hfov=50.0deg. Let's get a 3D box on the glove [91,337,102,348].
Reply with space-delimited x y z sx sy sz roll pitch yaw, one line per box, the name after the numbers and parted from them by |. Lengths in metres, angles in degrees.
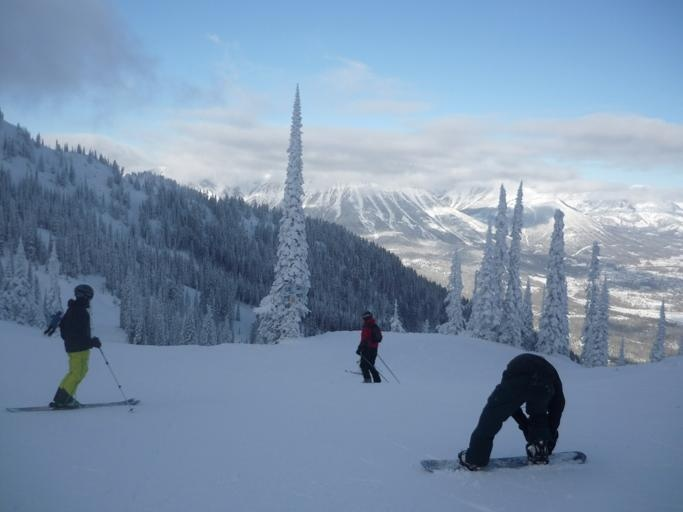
-10.443 3.730 31.311 0.343 0.439 0.452 5 -41 -14 | glove
